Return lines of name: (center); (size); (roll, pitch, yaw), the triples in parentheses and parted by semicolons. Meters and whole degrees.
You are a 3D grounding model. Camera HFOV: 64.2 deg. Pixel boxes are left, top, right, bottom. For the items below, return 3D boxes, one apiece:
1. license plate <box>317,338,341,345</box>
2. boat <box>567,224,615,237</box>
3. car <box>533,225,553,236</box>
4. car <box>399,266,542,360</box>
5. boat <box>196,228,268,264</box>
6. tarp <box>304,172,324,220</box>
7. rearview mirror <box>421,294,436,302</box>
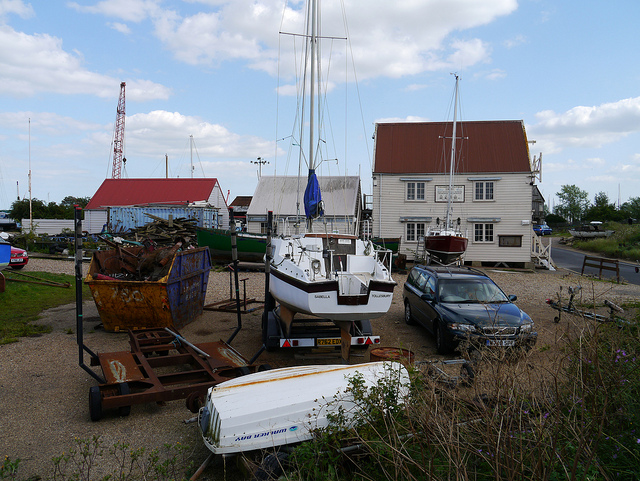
license plate: (0.187, 1.942, 9.851); (0.449, 0.117, 0.072); (1, 2, 0)
boat: (28.257, -0.934, 52.787); (4.282, 1.648, 1.629); (0, 1, 25)
car: (23.036, -1.111, 52.370); (1.192, 0.960, 2.567); (7, 15, 45)
car: (3.166, 1.489, 11.144); (1.480, 1.314, 3.622); (2, -2, -5)
boat: (-4.335, 0.306, 25.721); (3.535, 1.843, 2.279); (1, 2, 7)
tarp: (-0.164, -1.249, 14.241); (0.505, 1.311, 0.685); (1, 2, -4)
rearview mirror: (2.521, 1.313, 11.760); (0.123, 0.149, 0.686); (1, 2, -7)
